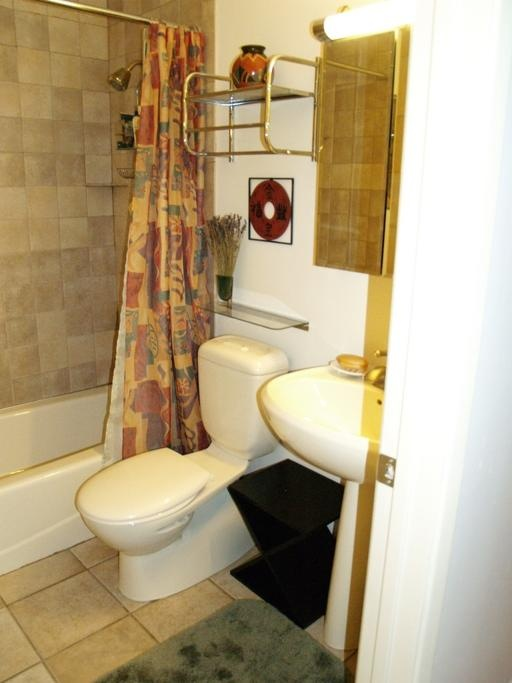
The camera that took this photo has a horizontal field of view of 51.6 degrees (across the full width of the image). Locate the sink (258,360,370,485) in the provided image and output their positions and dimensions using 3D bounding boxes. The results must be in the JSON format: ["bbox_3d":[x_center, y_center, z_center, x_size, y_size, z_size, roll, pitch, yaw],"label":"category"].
[{"bbox_3d":[0.197,0.195,1.445,0.307,0.189,0.462,13,20,18],"label":"sink"}]

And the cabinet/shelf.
[{"bbox_3d":[-0.031,-0.778,1.799,0.224,0.323,0.468,-13,23,-40],"label":"cabinet/shelf"}]

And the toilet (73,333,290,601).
[{"bbox_3d":[-0.271,0.468,1.917,0.710,0.871,0.396,-16,27,-39],"label":"toilet"}]

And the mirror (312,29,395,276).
[{"bbox_3d":[0.282,-0.545,1.576,0.048,0.653,0.317,-15,24,-34],"label":"mirror"}]

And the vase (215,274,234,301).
[{"bbox_3d":[-0.129,-0.212,2.152,0.053,0.108,0.095,-3,7,-15],"label":"vase"}]
